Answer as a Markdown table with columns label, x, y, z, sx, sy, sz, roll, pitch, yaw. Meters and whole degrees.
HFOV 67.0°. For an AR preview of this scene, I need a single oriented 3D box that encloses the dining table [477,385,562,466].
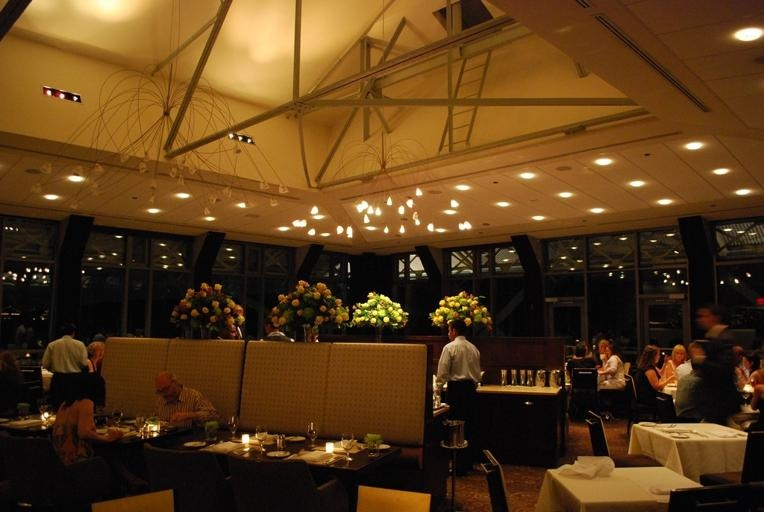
| label | x | y | z | sx | sy | sz | roll | pitch | yaw |
| --- | --- | --- | --- | --- | --- | --- | --- | --- | --- |
| dining table | 2.317 | 2.719 | 9.305 | 1.232 | 1.213 | 1.246 | -4 | -17 | 20 |

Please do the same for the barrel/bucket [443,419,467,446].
| label | x | y | z | sx | sy | sz | roll | pitch | yaw |
| --- | --- | --- | --- | --- | --- | --- | --- | --- | --- |
| barrel/bucket | 0.867 | 2.128 | 6.962 | 0.307 | 0.279 | 0.318 | 0 | -16 | 0 |

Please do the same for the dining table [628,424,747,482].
| label | x | y | z | sx | sy | sz | roll | pitch | yaw |
| --- | --- | --- | --- | --- | --- | --- | --- | --- | --- |
| dining table | 3.643 | 2.191 | 6.628 | 0.725 | 0.307 | 0.761 | 1 | -4 | -14 |

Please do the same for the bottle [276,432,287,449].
| label | x | y | z | sx | sy | sz | roll | pitch | yaw |
| --- | --- | --- | --- | --- | --- | --- | --- | --- | --- |
| bottle | -1.135 | 2.075 | 6.495 | 0.125 | 0.230 | 0.129 | -1 | -7 | 0 |

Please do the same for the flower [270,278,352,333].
| label | x | y | z | sx | sy | sz | roll | pitch | yaw |
| --- | --- | --- | --- | --- | --- | --- | --- | --- | --- |
| flower | -0.951 | 0.576 | 7.851 | 0.742 | 0.551 | 0.784 | 15 | 8 | -35 |

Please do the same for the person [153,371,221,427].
| label | x | y | z | sx | sy | sz | roll | pitch | yaw |
| --- | --- | --- | --- | --- | --- | --- | --- | --- | --- |
| person | -2.566 | 1.898 | 7.445 | 1.007 | 0.822 | 0.598 | -7 | -9 | 16 |

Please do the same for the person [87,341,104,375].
| label | x | y | z | sx | sy | sz | roll | pitch | yaw |
| --- | --- | --- | --- | --- | --- | --- | --- | --- | --- |
| person | -4.900 | 1.767 | 9.900 | 0.219 | 0.724 | 0.251 | -31 | -33 | 26 |

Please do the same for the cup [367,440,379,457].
| label | x | y | z | sx | sy | sz | roll | pitch | yaw |
| --- | --- | --- | --- | --- | --- | --- | --- | --- | --- |
| cup | -0.089 | 2.097 | 6.220 | 0.110 | 0.126 | 0.113 | -1 | -17 | 0 |

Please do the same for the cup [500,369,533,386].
| label | x | y | z | sx | sy | sz | roll | pitch | yaw |
| --- | --- | --- | --- | --- | --- | --- | --- | --- | --- |
| cup | 2.340 | 2.078 | 9.833 | 0.542 | 0.255 | 0.353 | -7 | -12 | 34 |

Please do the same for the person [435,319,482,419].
| label | x | y | z | sx | sy | sz | roll | pitch | yaw |
| --- | --- | --- | --- | --- | --- | --- | --- | --- | --- |
| person | 1.134 | 1.703 | 8.773 | 0.510 | 1.518 | 0.816 | -8 | -12 | 42 |

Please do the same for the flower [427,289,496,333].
| label | x | y | z | sx | sy | sz | roll | pitch | yaw |
| --- | --- | --- | --- | --- | --- | --- | --- | --- | --- |
| flower | 1.437 | 1.115 | 10.365 | 1.021 | 0.925 | 1.119 | 3 | -16 | 12 |

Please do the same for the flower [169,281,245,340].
| label | x | y | z | sx | sy | sz | roll | pitch | yaw |
| --- | --- | --- | --- | --- | --- | --- | --- | --- | --- |
| flower | -2.619 | 0.911 | 8.587 | 0.918 | 0.973 | 0.911 | 9 | -20 | -31 |

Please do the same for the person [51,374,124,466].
| label | x | y | z | sx | sy | sz | roll | pitch | yaw |
| --- | --- | --- | --- | --- | --- | --- | --- | --- | --- |
| person | -3.374 | 1.891 | 6.688 | 0.650 | 1.030 | 0.582 | -5 | -7 | 40 |

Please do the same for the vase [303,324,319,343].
| label | x | y | z | sx | sy | sz | roll | pitch | yaw |
| --- | --- | --- | --- | --- | --- | --- | --- | --- | --- |
| vase | -0.953 | 1.050 | 7.773 | 0.213 | 0.338 | 0.213 | 2 | -3 | -32 |

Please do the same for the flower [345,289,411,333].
| label | x | y | z | sx | sy | sz | roll | pitch | yaw |
| --- | --- | --- | --- | --- | --- | --- | --- | --- | --- |
| flower | 0.066 | 0.981 | 9.607 | 0.599 | 0.526 | 0.571 | 4 | 6 | 11 |
